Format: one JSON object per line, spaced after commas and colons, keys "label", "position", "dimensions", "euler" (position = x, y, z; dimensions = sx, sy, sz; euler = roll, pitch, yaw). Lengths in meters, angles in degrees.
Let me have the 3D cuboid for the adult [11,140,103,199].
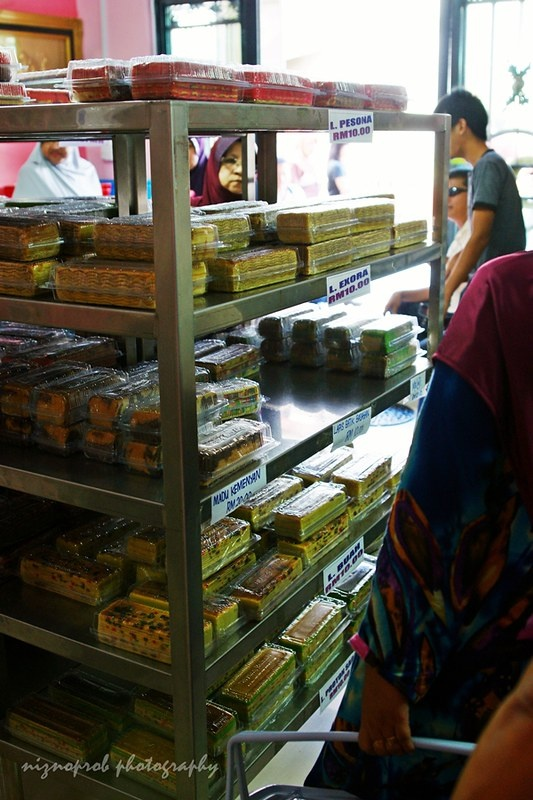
{"label": "adult", "position": [-1.622, -1.699, 4.898], "dimensions": [0.669, 0.551, 0.379], "euler": [-7, 2, -18]}
